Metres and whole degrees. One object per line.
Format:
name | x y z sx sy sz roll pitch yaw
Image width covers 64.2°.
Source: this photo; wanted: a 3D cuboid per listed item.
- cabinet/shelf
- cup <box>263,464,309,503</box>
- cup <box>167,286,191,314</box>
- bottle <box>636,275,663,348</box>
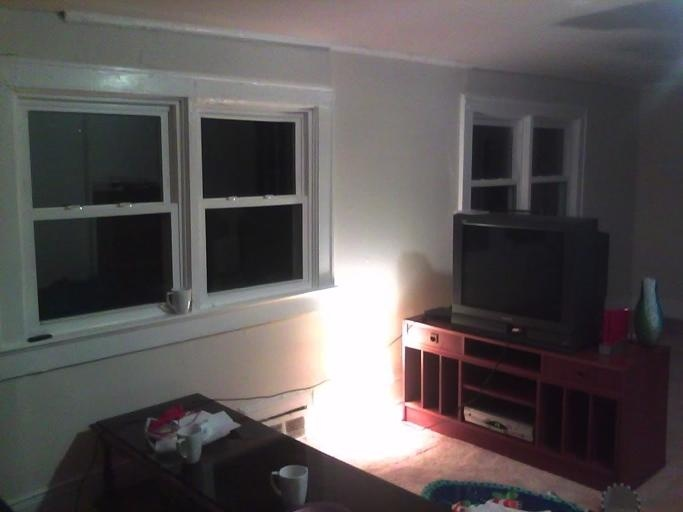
cabinet/shelf | 1.176 0.871 3.566 0.548 0.783 1.432 -7 9 -39
cup | -0.211 0.861 2.096 0.141 0.135 0.095 -6 -5 44
cup | -0.900 0.250 3.016 0.159 0.153 0.107 0 5 -6
bottle | 1.851 0.331 3.268 0.143 0.406 0.231 7 15 31
